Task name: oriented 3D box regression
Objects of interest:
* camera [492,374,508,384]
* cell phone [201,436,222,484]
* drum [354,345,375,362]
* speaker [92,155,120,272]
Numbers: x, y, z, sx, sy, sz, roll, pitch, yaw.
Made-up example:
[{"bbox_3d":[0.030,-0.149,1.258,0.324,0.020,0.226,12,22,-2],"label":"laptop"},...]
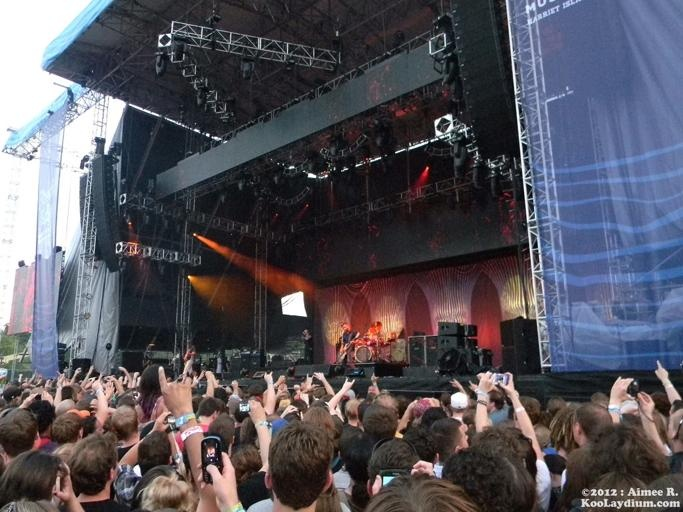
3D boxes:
[{"bbox_3d":[1.205,0.943,3.956,0.091,0.028,0.093,1,0,-6],"label":"camera"},{"bbox_3d":[-0.646,1.009,2.566,0.116,0.230,0.134,1,-13,-7],"label":"cell phone"},{"bbox_3d":[0.722,3.175,16.937,0.547,0.603,0.946,0,-13,-3],"label":"drum"},{"bbox_3d":[-8.018,-1.571,17.578,0.844,3.160,1.954,3,-13,-16],"label":"speaker"}]
